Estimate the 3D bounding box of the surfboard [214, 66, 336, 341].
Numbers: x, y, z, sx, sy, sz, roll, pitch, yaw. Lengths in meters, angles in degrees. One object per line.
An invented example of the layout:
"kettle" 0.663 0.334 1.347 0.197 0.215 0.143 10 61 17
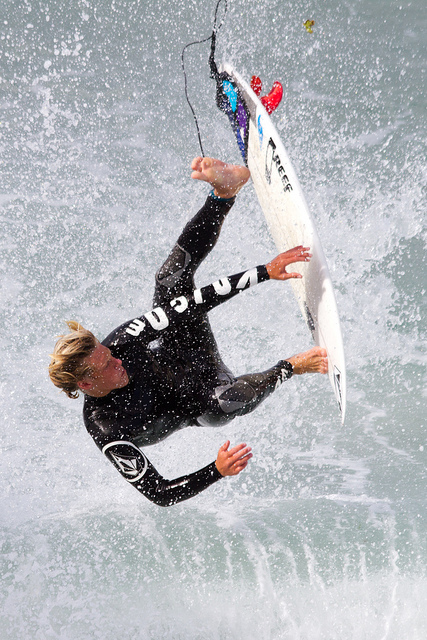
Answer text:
"surfboard" 0.356 -0.787 4.221 0.257 0.439 2.180 -4 48 -21
